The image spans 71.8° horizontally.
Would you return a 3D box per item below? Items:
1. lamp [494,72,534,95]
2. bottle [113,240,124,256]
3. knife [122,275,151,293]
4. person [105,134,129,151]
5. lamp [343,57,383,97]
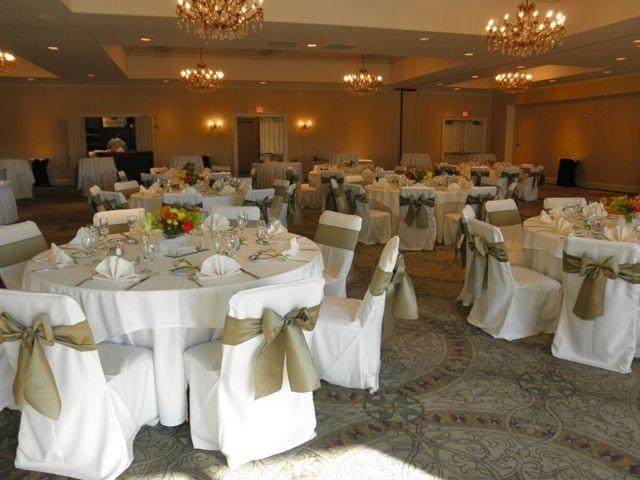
[{"bbox_3d":[5.082,-4.136,11.802,0.765,0.415,0.832,2,21,7],"label":"lamp"},{"bbox_3d":[-1.580,0.061,3.447,0.070,0.134,0.122,1,16,-9],"label":"bottle"},{"bbox_3d":[-1.158,0.277,2.758,0.047,0.013,0.147,16,21,12],"label":"knife"},{"bbox_3d":[-6.720,-3.141,14.560,0.538,0.450,1.210,-6,13,-26],"label":"person"},{"bbox_3d":[1.240,-4.821,12.825,1.010,1.527,1.086,7,27,18],"label":"lamp"}]
